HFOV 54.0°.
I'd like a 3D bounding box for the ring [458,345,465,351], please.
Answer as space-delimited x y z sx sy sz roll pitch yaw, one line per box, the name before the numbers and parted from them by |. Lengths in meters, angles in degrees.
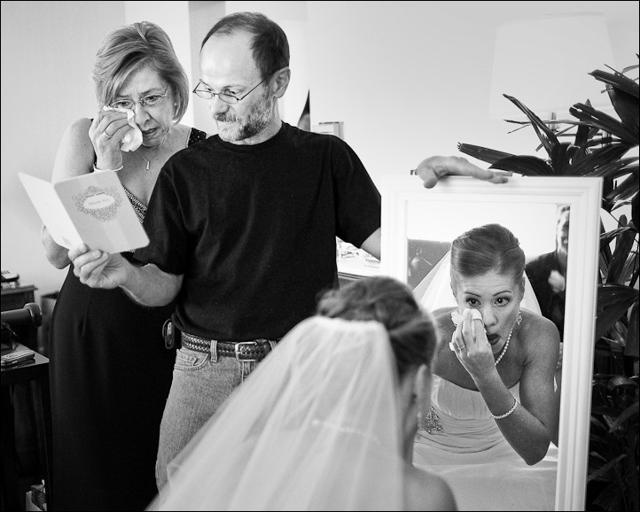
ring | 0.397 0.257 1.776 0.015 0.004 0.016 -4 5 0
